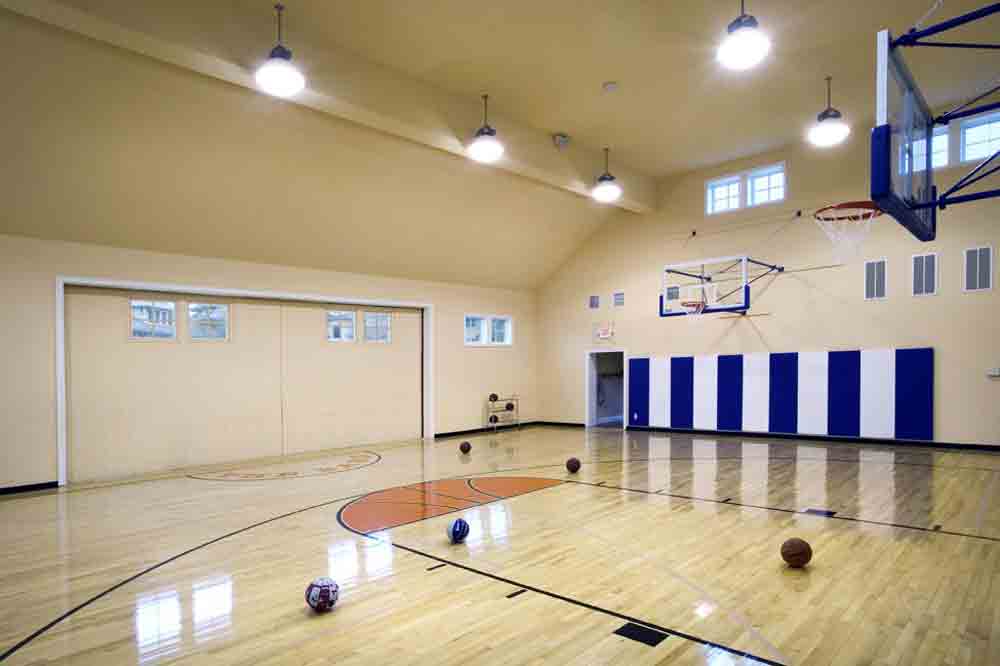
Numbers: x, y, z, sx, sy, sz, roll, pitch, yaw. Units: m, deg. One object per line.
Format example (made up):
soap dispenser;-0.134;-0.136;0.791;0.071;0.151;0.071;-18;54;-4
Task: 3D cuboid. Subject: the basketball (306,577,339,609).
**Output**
basketball;-1.763;2.587;6.394;0.291;0.324;0.290;5;-13;-27

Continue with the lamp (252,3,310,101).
lamp;-2.921;-3.712;8.509;0.630;1.207;0.940;-4;8;-17

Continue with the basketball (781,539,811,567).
basketball;3.162;2.346;6.991;0.289;0.284;0.164;16;11;-2

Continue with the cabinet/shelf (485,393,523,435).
cabinet/shelf;0.031;1.989;15.688;0.324;0.881;0.933;-3;-4;44

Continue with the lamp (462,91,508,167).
lamp;-0.244;-3.358;10.756;0.613;1.090;1.548;-1;7;1

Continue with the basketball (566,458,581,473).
basketball;1.190;2.169;10.565;0.223;0.197;0.348;0;7;7

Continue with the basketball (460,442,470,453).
basketball;-0.685;2.222;12.461;0.163;0.186;0.163;4;-8;0

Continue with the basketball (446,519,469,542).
basketball;-0.484;2.315;7.669;0.258;0.252;0.245;0;2;14
